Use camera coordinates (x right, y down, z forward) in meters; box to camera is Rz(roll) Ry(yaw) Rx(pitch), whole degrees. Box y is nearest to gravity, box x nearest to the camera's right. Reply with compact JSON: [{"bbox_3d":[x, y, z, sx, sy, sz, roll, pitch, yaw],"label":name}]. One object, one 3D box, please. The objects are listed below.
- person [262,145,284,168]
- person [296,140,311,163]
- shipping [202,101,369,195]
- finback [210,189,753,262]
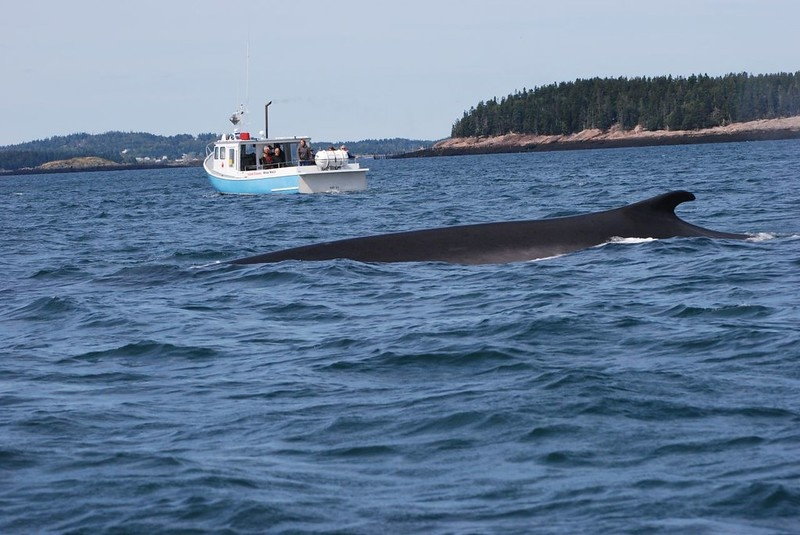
[{"bbox_3d":[-5.260,-4.524,51.375,1.320,0.847,0.263,-2,-7,-14],"label":"person"},{"bbox_3d":[-3.897,-4.653,50.480,0.423,1.017,1.021,0,3,11],"label":"person"},{"bbox_3d":[-5.519,-4.869,52.953,3.804,3.018,9.178,-14,17,-37],"label":"shipping"},{"bbox_3d":[2.073,-0.991,30.278,11.796,1.215,2.655,-2,1,-7],"label":"finback"}]
